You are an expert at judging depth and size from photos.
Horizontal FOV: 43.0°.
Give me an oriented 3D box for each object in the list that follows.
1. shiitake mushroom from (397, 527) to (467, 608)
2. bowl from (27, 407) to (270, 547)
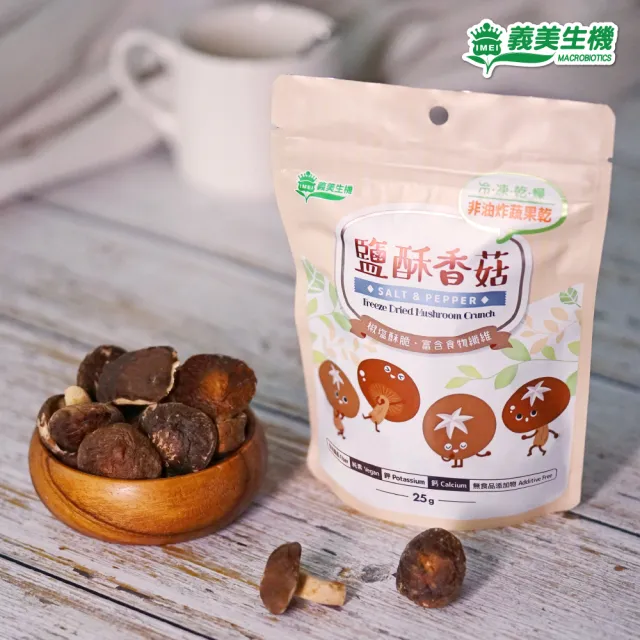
[{"bbox_3d":[0.104,0.208,0.701,0.077,0.040,0.058,4,86,21],"label":"shiitake mushroom"},{"bbox_3d":[-0.148,0.143,0.747,0.214,0.094,0.114,-12,45,-8],"label":"bowl"}]
